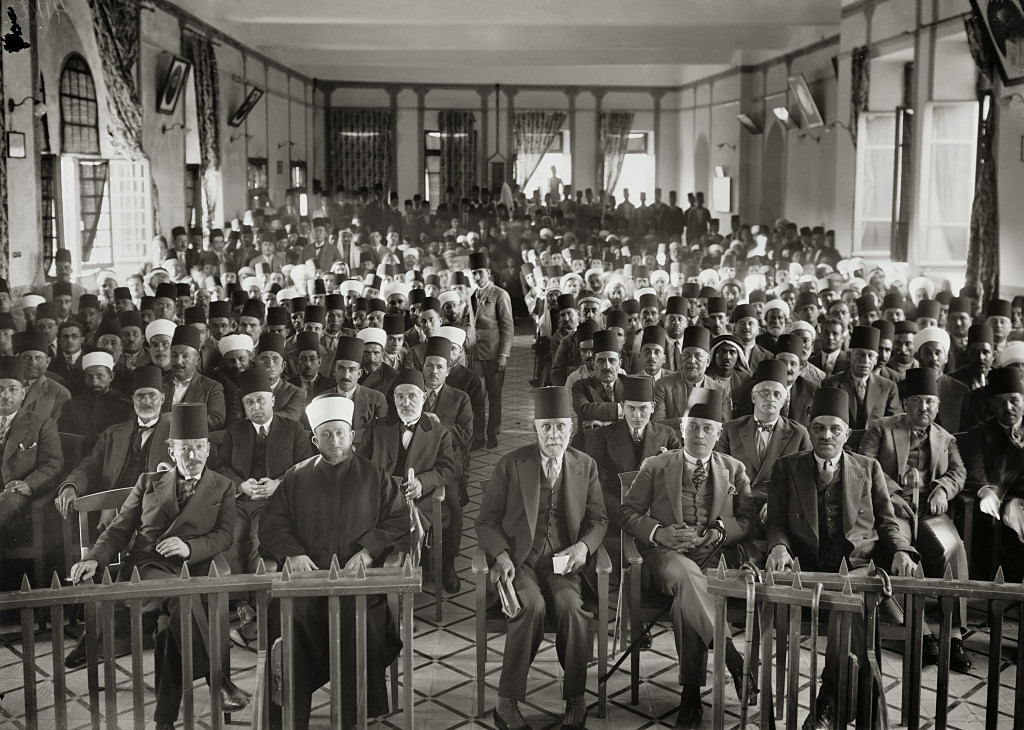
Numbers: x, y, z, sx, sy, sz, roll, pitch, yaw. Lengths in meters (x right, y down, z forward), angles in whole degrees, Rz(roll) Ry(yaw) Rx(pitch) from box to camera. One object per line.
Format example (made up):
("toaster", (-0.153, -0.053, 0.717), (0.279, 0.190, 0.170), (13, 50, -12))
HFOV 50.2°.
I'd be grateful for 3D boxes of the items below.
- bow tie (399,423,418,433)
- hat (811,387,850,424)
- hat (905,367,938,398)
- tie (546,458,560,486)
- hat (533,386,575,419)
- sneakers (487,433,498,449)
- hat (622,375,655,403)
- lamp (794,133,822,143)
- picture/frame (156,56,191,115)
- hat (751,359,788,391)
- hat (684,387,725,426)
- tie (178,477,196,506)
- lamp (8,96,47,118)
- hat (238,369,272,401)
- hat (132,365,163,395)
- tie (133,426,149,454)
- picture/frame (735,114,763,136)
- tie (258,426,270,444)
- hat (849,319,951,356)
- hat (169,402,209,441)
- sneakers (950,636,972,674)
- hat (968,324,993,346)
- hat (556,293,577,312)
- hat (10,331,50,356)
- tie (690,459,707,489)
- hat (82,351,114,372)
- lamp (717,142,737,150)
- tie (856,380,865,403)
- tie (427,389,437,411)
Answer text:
("bow tie", (-0.698, 0.425, 7.442), (0.061, 0.054, 0.066), (0, -4, 18))
("hat", (1.868, 0.232, 6.457), (0.178, 0.173, 0.201), (0, 7, -21))
("hat", (2.654, 0.097, 7.099), (0.183, 0.203, 0.174), (-7, 9, -38))
("tie", (0.243, 0.628, 6.470), (0.079, 0.163, 0.036), (2, -2, -4))
("hat", (0.231, 0.217, 6.452), (0.174, 0.149, 0.187), (-1, 4, 21))
("sneakers", (-0.188, 0.714, 10.415), (0.097, 0.123, 0.105), (0, -5, -1))
("hat", (0.812, 0.149, 7.092), (0.161, 0.142, 0.175), (0, 1, 1))
("lamp", (4.838, -3.724, 17.913), (0.285, 0.143, 0.117), (9, 7, 2))
("picture/frame", (-4.534, -3.743, 14.572), (0.084, 0.893, 0.744), (17, 23, 5))
("hat", (1.708, 0.060, 7.222), (0.171, 0.155, 0.186), (3, 2, 5))
("hat", (1.165, 0.258, 6.590), (0.195, 0.169, 0.205), (2, 7, -22))
("tie", (-1.901, 0.726, 6.367), (0.093, 0.124, 0.132), (2, 12, 12))
("lamp", (-4.741, -2.541, 10.706), (0.296, 0.190, 0.116), (-1, 5, -7))
("hat", (-1.685, 0.117, 7.150), (0.171, 0.190, 0.185), (0, 7, -4))
("hat", (-2.360, 0.093, 7.076), (0.166, 0.151, 0.171), (0, 5, -10))
("tie", (-2.437, 0.478, 7.209), (0.031, 0.142, 0.103), (14, 12, -40))
("picture/frame", (4.565, -4.634, 21.020), (0.401, 0.479, 0.876), (1, 6, 4))
("tie", (-1.643, 0.459, 7.229), (0.071, 0.115, 0.025), (-1, -2, 2))
("hat", (3.098, -0.229, 8.468), (0.422, 0.179, 0.440), (1, -7, 36))
("hat", (-1.840, 0.304, 6.246), (0.184, 0.198, 0.199), (3, 3, 19))
("sneakers", (2.683, 1.739, 6.577), (0.101, 0.139, 0.303), (-4, 4, 7))
("hat", (3.611, -0.240, 8.423), (0.140, 0.126, 0.150), (-2, 8, -15))
("hat", (0.506, -0.592, 10.332), (0.148, 0.172, 0.152), (-1, 4, 15))
("hat", (-3.599, -0.171, 8.153), (0.258, 0.245, 0.299), (1, -1, -10))
("tie", (1.136, 0.652, 6.591), (0.083, 0.168, 0.036), (8, -6, 4))
("hat", (-3.018, -0.035, 8.025), (0.164, 0.118, 0.179), (0, -1, 9))
("lamp", (4.380, -4.455, 22.296), (0.396, 0.200, 0.089), (3, -3, -14))
("tie", (2.580, 0.184, 8.060), (0.064, 0.125, 0.028), (-1, -12, 16))
("tie", (-0.606, 0.262, 8.199), (0.106, 0.124, 0.029), (4, -9, 8))
